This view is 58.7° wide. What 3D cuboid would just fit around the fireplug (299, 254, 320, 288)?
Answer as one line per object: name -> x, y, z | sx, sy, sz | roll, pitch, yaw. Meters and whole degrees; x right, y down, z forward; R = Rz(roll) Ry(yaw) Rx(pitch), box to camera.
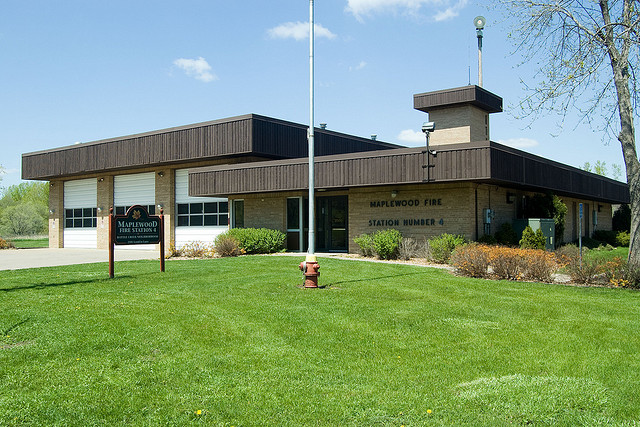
fireplug -> -0.324, 1.777, 17.506 | 0.519, 1.000, 0.513 | 1, 8, 0
